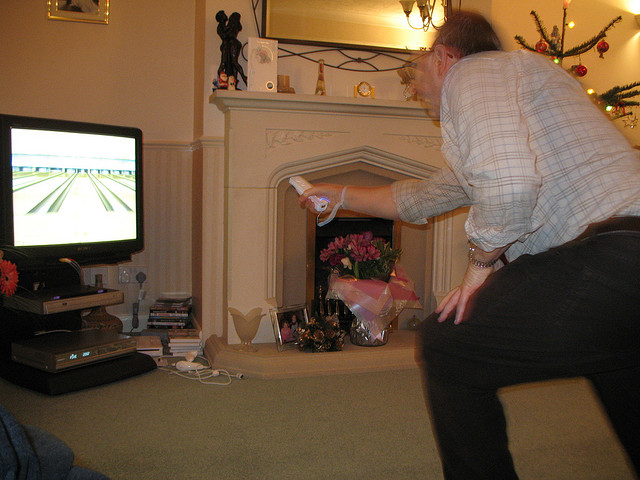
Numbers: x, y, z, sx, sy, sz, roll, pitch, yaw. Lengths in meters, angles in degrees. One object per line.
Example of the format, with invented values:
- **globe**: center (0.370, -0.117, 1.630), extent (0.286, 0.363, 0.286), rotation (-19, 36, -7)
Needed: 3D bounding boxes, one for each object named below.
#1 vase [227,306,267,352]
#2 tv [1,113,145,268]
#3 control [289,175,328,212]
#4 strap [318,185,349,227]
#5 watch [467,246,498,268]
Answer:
- **vase**: center (-0.456, 0.575, 3.186), extent (0.258, 0.244, 0.272), rotation (4, -3, -32)
- **tv**: center (-1.501, -0.283, 3.046), extent (0.925, 0.971, 0.335), rotation (0, -2, -37)
- **control**: center (-0.058, -0.211, 2.305), extent (0.082, 0.077, 0.282), rotation (-18, 43, -26)
- **strap**: center (0.083, -0.126, 2.162), extent (0.035, 0.165, 0.120), rotation (35, -4, -22)
- **watch**: center (0.478, 0.048, 1.515), extent (0.094, 0.059, 0.068), rotation (8, 13, 39)
